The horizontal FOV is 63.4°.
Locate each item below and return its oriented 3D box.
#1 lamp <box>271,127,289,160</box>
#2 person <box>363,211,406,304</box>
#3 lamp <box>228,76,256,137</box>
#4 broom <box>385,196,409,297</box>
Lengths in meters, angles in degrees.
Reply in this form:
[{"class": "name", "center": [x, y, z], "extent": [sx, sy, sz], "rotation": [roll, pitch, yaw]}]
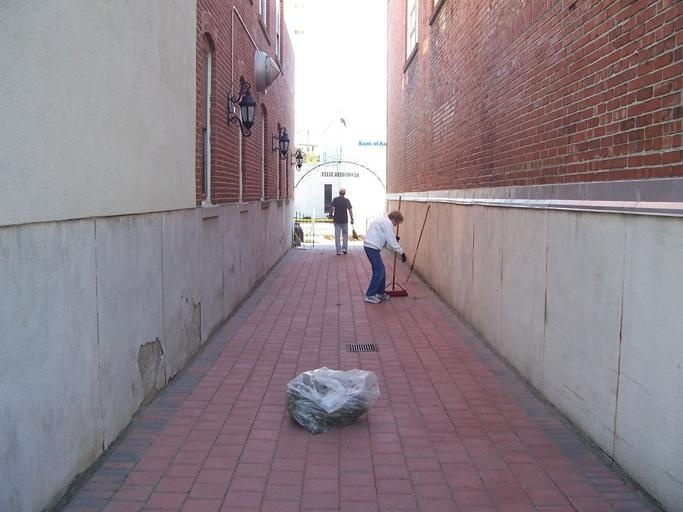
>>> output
[{"class": "lamp", "center": [-1.825, -3.481, 17.000], "extent": [0.438, 1.197, 0.332], "rotation": [-2, -19, -5]}, {"class": "person", "center": [0.826, -0.095, 10.749], "extent": [0.622, 1.960, 0.817], "rotation": [5, 9, 7]}, {"class": "lamp", "center": [-1.695, -2.568, 9.511], "extent": [0.393, 1.051, 0.278], "rotation": [-2, 1, -12]}, {"class": "broom", "center": [1.125, -0.040, 11.338], "extent": [0.527, 1.799, 0.072], "rotation": [3, 21, 5]}]
